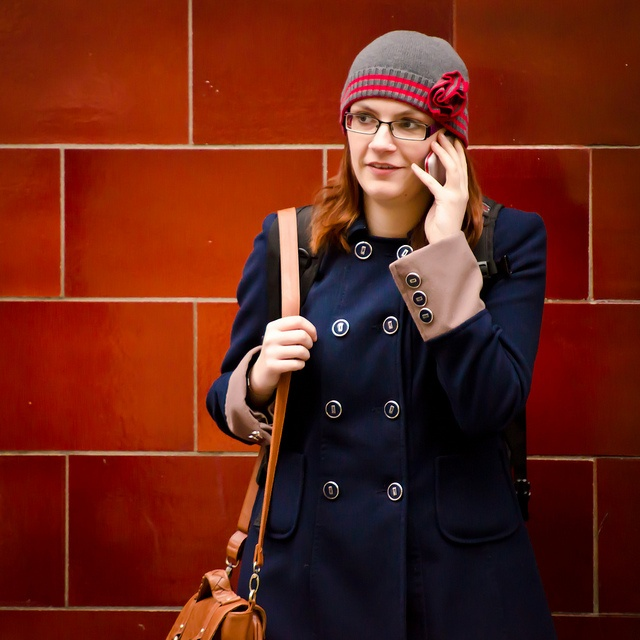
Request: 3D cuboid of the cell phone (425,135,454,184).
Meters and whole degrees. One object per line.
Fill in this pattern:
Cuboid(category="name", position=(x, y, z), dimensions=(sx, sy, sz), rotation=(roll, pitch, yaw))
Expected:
Cuboid(category="cell phone", position=(0.304, -0.416, 2.278), dimensions=(0.020, 0.096, 0.043), rotation=(-5, 7, 45))

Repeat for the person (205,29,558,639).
Cuboid(category="person", position=(0.168, 0.047, 2.300), dimensions=(0.864, 1.502, 0.622), rotation=(-1, 16, 4))
